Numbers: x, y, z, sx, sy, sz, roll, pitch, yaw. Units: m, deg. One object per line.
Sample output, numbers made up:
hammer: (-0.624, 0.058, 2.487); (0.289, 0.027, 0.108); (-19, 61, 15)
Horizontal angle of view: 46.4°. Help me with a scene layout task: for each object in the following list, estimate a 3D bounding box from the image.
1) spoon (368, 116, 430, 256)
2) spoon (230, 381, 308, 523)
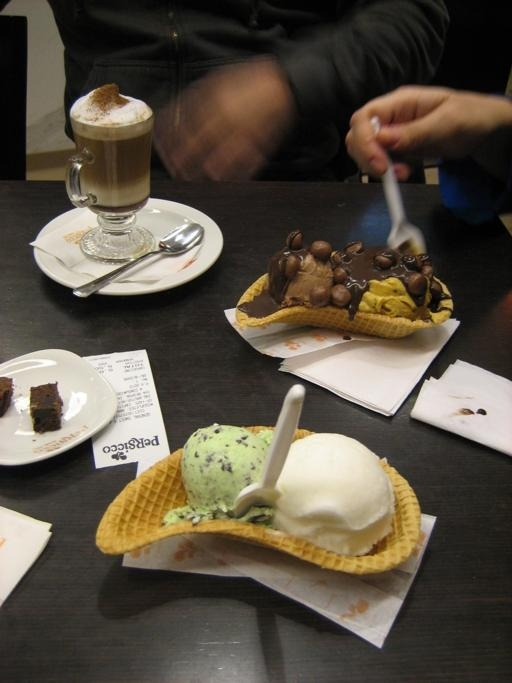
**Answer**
spoon: (0.276, -0.309, 1.181); (0.060, 0.048, 0.310); (-10, 70, 3)
spoon: (0.015, 0.118, 0.588); (0.049, 0.194, 0.018); (11, 37, -3)
